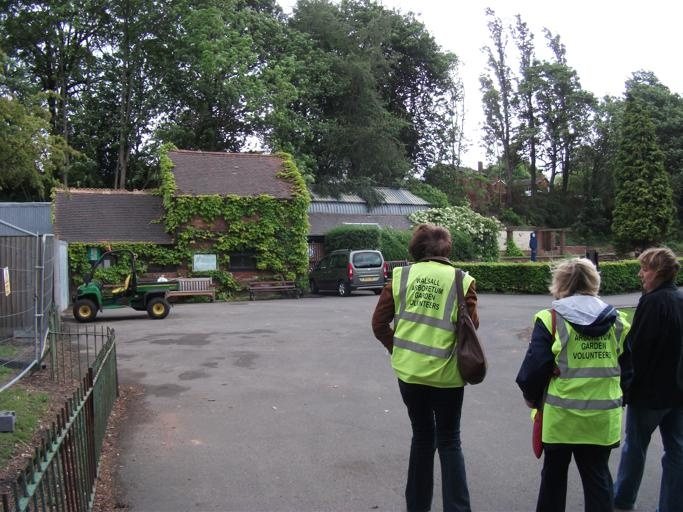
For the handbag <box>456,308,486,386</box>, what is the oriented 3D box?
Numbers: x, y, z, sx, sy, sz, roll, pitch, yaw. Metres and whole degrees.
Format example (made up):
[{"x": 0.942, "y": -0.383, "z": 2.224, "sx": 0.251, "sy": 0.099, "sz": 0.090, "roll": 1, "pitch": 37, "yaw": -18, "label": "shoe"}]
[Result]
[{"x": 1.110, "y": 0.774, "z": 5.453, "sx": 0.236, "sy": 0.688, "sz": 0.262, "roll": 0, "pitch": 4, "yaw": 10, "label": "handbag"}]

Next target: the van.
[{"x": 0.305, "y": 0.603, "z": 27.708, "sx": 1.699, "sy": 1.518, "sz": 3.150, "roll": 0, "pitch": 5, "yaw": -30, "label": "van"}]

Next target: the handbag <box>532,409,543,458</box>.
[{"x": 1.580, "y": 1.423, "z": 5.158, "sx": 0.073, "sy": 0.329, "sz": 0.223, "roll": 4, "pitch": -7, "yaw": 3, "label": "handbag"}]

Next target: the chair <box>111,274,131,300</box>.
[{"x": -6.711, "y": 0.924, "z": 19.219, "sx": 0.674, "sy": 0.819, "sz": 0.542, "roll": 6, "pitch": -3, "yaw": -26, "label": "chair"}]
